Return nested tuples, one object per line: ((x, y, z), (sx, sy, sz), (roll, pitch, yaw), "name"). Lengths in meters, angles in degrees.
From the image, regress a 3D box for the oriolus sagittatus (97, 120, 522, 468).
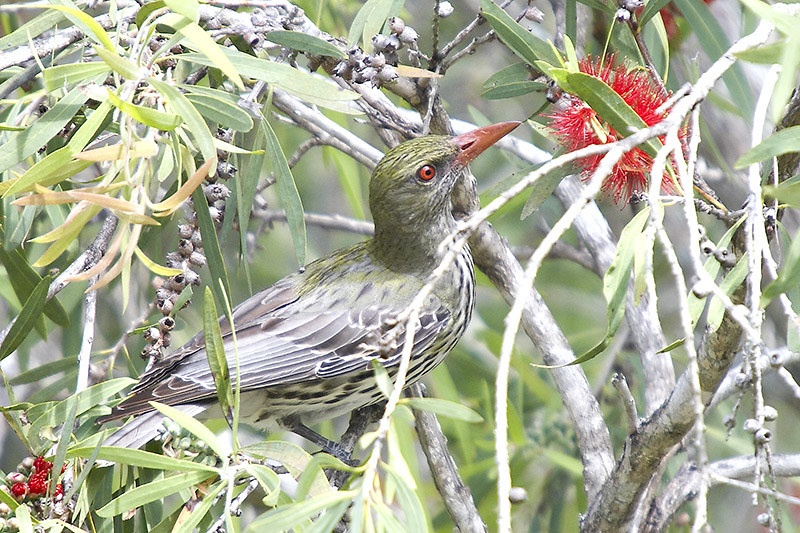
((-0.347, 0.207, 4.042), (1.296, 1.234, 1.744), (5, 98, 14), "oriolus sagittatus")

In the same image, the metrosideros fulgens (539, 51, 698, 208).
((0.748, -0.502, 3.129), (0.523, 0.317, 0.469), (45, 120, 10), "metrosideros fulgens")
